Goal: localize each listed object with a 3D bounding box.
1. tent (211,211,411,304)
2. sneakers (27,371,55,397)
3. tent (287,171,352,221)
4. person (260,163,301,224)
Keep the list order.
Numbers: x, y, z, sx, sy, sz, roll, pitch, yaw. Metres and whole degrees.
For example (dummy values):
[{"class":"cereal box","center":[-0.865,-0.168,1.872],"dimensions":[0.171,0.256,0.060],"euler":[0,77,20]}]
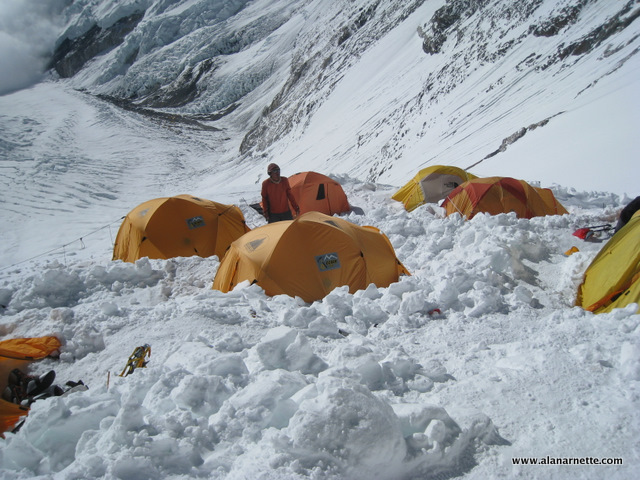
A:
[{"class":"tent","center":[0.100,0.306,9.998],"dimensions":[2.225,0.817,2.224],"euler":[-1,3,35]},{"class":"sneakers","center":[-4.051,2.102,7.793],"dimensions":[0.402,0.157,0.298],"euler":[-34,25,-13]},{"class":"tent","center":[0.016,-1.385,15.770],"dimensions":[1.575,1.042,1.560],"euler":[-6,13,-24]},{"class":"person","center":[-0.899,-0.694,12.237],"dimensions":[0.822,2.263,0.507],"euler":[-8,28,-7]}]
